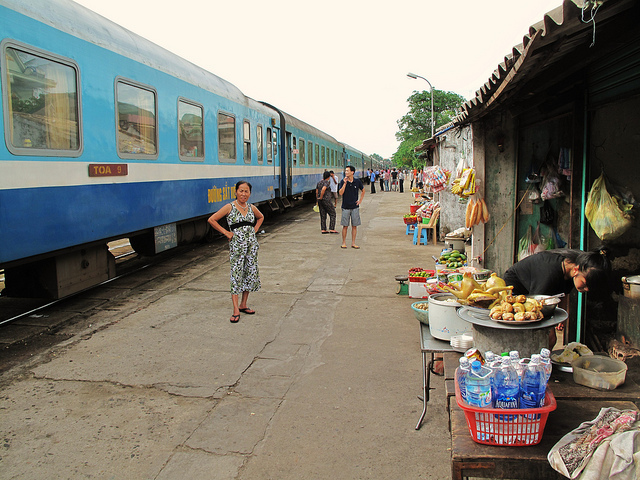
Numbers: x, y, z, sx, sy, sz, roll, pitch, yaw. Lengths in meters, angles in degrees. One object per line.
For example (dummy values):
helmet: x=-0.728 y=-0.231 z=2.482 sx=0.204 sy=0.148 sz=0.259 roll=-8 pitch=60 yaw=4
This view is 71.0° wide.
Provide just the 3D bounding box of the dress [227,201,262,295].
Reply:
dress: x=-1.065 y=0.110 z=6.380 sx=0.458 sy=1.233 sz=0.461 roll=3 pitch=10 yaw=2

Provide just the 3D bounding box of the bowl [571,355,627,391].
bowl: x=1.945 y=0.920 z=3.150 sx=0.383 sy=0.119 sz=0.309 roll=-8 pitch=13 yaw=-38

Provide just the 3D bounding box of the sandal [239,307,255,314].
sandal: x=-1.072 y=1.021 z=6.500 sx=0.192 sy=0.060 sz=0.081 roll=1 pitch=3 yaw=29

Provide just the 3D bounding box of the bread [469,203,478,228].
bread: x=2.455 y=-0.402 z=7.175 sx=0.117 sy=0.365 sz=0.084 roll=1 pitch=10 yaw=7

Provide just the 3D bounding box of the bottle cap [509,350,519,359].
bottle cap: x=1.152 y=0.674 z=2.664 sx=0.047 sy=0.043 sz=0.049 roll=-2 pitch=2 yaw=36

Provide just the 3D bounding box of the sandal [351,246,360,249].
sandal: x=0.904 y=0.189 z=11.439 sx=0.157 sy=0.071 sz=0.055 roll=-3 pitch=5 yaw=41

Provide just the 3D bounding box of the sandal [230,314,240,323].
sandal: x=-1.166 y=1.083 z=6.159 sx=0.123 sy=0.088 sz=0.114 roll=-4 pitch=11 yaw=-19

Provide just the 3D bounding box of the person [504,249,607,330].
person: x=1.976 y=0.302 z=3.826 sx=0.449 sy=0.527 sz=0.900 roll=0 pitch=10 yaw=-1

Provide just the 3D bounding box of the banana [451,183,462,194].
banana: x=2.260 y=-0.863 z=7.437 sx=0.057 sy=0.154 sz=0.146 roll=16 pitch=-22 yaw=-21

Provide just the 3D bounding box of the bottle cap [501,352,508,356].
bottle cap: x=1.187 y=0.738 z=2.889 sx=0.035 sy=0.023 sz=0.037 roll=1 pitch=-4 yaw=33

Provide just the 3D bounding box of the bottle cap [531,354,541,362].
bottle cap: x=1.257 y=0.688 z=2.614 sx=0.041 sy=0.039 sz=0.042 roll=0 pitch=-5 yaw=7

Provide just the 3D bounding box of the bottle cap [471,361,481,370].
bottle cap: x=0.914 y=0.737 z=2.628 sx=0.041 sy=0.032 sz=0.043 roll=-12 pitch=10 yaw=14

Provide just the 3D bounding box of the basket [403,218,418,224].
basket: x=2.531 y=-0.541 z=12.473 sx=0.399 sy=0.190 sz=0.349 roll=5 pitch=11 yaw=25

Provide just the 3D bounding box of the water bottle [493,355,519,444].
water bottle: x=1.072 y=0.940 z=2.609 sx=0.147 sy=0.545 sz=0.154 roll=-4 pitch=3 yaw=0

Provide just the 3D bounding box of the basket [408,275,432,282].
basket: x=1.537 y=0.602 z=6.880 sx=0.341 sy=0.096 sz=0.242 roll=2 pitch=10 yaw=13

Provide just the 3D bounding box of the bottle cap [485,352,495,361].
bottle cap: x=1.026 y=0.703 z=2.712 sx=0.048 sy=0.050 sz=0.049 roll=0 pitch=9 yaw=27

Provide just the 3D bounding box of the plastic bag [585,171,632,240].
plastic bag: x=2.847 y=-0.326 z=4.438 sx=0.325 sy=0.663 sz=0.386 roll=1 pitch=10 yaw=9

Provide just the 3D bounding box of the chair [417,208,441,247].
chair: x=2.864 y=-0.369 z=11.905 sx=0.773 sy=0.961 sz=0.572 roll=-2 pitch=10 yaw=-12

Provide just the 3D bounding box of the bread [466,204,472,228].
bread: x=2.402 y=-0.395 z=7.263 sx=0.074 sy=0.305 sz=0.062 roll=8 pitch=5 yaw=42

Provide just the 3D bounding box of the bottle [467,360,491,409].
bottle: x=0.927 y=0.841 z=2.607 sx=0.136 sy=0.229 sz=0.097 roll=5 pitch=11 yaw=27

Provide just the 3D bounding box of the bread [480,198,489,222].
bread: x=2.646 y=-0.478 z=7.201 sx=0.081 sy=0.344 sz=0.085 roll=0 pitch=4 yaw=30

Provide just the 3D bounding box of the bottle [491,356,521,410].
bottle: x=1.062 y=0.824 z=2.583 sx=0.166 sy=0.269 sz=0.127 roll=-2 pitch=10 yaw=-9

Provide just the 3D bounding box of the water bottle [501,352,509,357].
water bottle: x=1.197 y=0.741 z=2.914 sx=0.044 sy=0.034 sz=0.047 roll=-1 pitch=5 yaw=0

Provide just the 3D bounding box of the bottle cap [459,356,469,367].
bottle cap: x=0.873 y=0.740 z=2.738 sx=0.051 sy=0.051 sz=0.054 roll=-2 pitch=2 yaw=38

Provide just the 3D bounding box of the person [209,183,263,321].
person: x=-1.181 y=0.112 z=6.576 sx=0.683 sy=1.902 sz=1.239 roll=-2 pitch=10 yaw=-11

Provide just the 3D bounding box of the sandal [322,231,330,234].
sandal: x=0.188 y=-0.228 z=14.041 sx=0.216 sy=0.049 sz=0.204 roll=0 pitch=10 yaw=0
